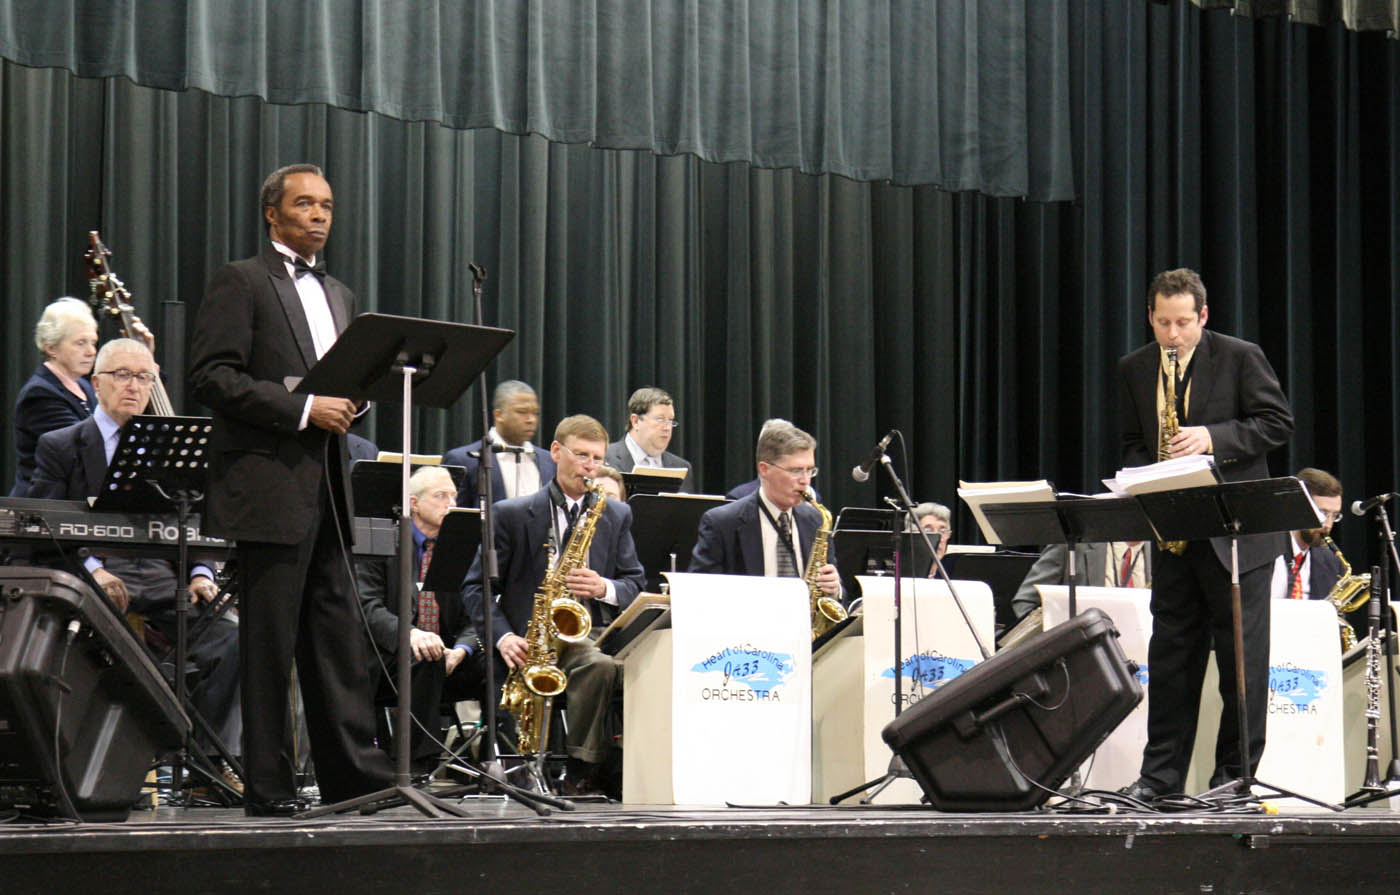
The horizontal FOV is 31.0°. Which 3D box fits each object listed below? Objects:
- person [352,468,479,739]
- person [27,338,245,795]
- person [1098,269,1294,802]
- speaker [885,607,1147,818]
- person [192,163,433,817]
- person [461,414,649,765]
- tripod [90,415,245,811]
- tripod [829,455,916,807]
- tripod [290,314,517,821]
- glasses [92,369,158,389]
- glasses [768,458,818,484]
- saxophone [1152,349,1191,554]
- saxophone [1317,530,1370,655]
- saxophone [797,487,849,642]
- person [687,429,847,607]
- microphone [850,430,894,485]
[{"bbox_3d":[-1.631,0.944,14.646,0.615,1.634,0.575,1,-13,2],"label":"person"},{"bbox_3d":[-3.018,0.705,14.264,1.016,2.697,1.143,7,-4,32],"label":"person"},{"bbox_3d":[2.691,0.448,13.653,1.100,2.642,0.867,5,1,20],"label":"person"},{"bbox_3d":[1.651,1.431,13.729,1.356,1.009,1.231,0,1,1],"label":"speaker"},{"bbox_3d":[-2.097,0.195,13.289,1.022,3.367,1.356,0,1,5],"label":"person"},{"bbox_3d":[-0.775,0.891,14.674,0.933,2.053,0.901,4,-1,15],"label":"person"},{"bbox_3d":[-2.854,0.903,13.751,0.866,2.119,0.874,0,1,2],"label":"tripod"},{"bbox_3d":[1.083,0.951,14.041,0.510,1.906,0.503,2,4,-8],"label":"tripod"},{"bbox_3d":[-1.550,0.531,12.945,0.913,2.689,0.920,2,-2,-13],"label":"tripod"},{"bbox_3d":[-3.246,-0.380,14.239,0.291,0.092,0.097,-2,-1,-20],"label":"glasses"},{"bbox_3d":[0.576,0.136,14.388,0.280,0.138,0.129,-2,-1,-28],"label":"glasses"},{"bbox_3d":[2.580,0.018,13.662,0.142,1.016,0.135,2,2,13],"label":"saxophone"},{"bbox_3d":[4.112,0.946,15.701,0.264,1.020,0.324,-6,-4,-7],"label":"saxophone"},{"bbox_3d":[0.768,0.692,14.614,0.243,0.868,0.247,4,0,33],"label":"saxophone"},{"bbox_3d":[0.381,0.427,14.538,0.638,1.152,0.695,-1,0,-35],"label":"person"},{"bbox_3d":[1.136,0.090,16.524,0.418,0.139,0.125,-49,9,40],"label":"microphone"}]
